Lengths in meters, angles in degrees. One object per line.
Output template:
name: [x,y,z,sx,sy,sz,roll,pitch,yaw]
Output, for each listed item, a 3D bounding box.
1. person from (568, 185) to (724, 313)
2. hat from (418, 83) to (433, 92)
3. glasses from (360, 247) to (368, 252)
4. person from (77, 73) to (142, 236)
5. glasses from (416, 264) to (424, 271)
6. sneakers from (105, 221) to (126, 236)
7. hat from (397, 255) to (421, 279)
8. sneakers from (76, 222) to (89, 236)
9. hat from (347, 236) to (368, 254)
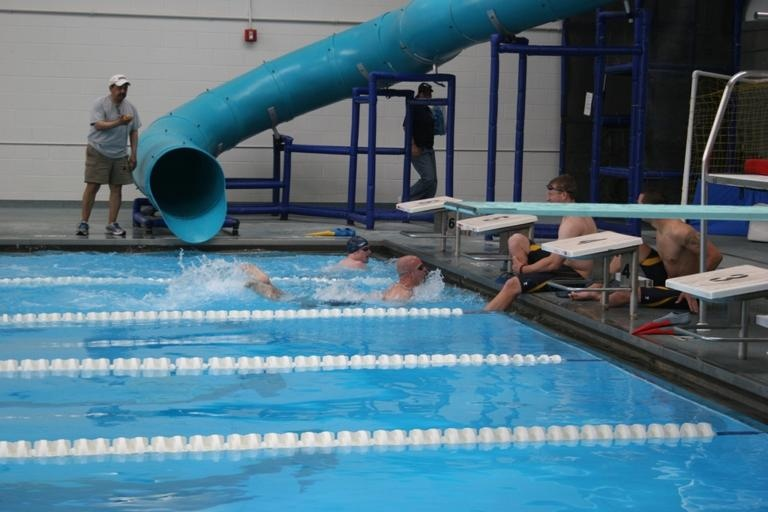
person: [1.983,-0.036,6.767,1.196,0.691,1.091,8,21,42]
hat: [0.510,-2.157,11.035,0.161,0.088,0.206,5,7,35]
glasses: [-0.203,-0.078,8.587,0.081,0.027,0.050,0,2,2]
person: [-2.942,-1.065,9.409,0.744,1.718,0.613,-5,-7,10]
glasses: [0.307,0.090,7.632,0.056,0.046,0.059,2,22,4]
sneakers: [-2.878,-0.294,9.466,0.271,0.088,0.130,3,3,43]
hat: [0.210,0.080,7.553,0.202,0.186,0.208,-3,-6,1]
sneakers: [-3.197,-0.293,9.315,0.122,0.180,0.335,-1,-5,-19]
hat: [-0.269,-0.127,8.626,0.190,0.188,0.144,-3,-6,2]
